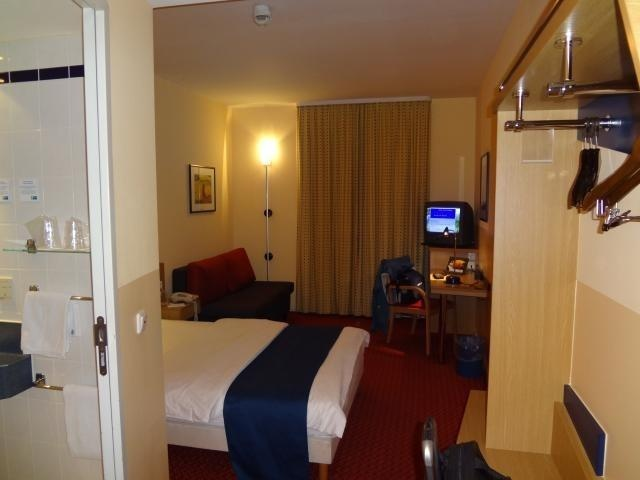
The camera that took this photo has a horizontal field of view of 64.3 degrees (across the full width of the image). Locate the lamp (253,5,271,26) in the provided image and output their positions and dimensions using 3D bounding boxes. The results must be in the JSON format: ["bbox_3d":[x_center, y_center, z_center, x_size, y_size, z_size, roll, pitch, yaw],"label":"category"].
[{"bbox_3d":[-0.413,-1.563,3.585,0.089,0.111,0.117,-5,41,-10],"label":"lamp"}]

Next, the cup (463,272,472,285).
[{"bbox_3d":[1.394,0.372,4.873,0.088,0.106,0.090,1,4,0],"label":"cup"}]

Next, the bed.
[{"bbox_3d":[-0.503,1.140,4.031,1.612,0.642,1.603,4,12,12],"label":"bed"}]

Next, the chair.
[{"bbox_3d":[1.149,0.765,5.799,0.774,1.337,0.742,-2,-2,32],"label":"chair"}]

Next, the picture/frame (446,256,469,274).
[{"bbox_3d":[1.461,0.267,5.386,0.213,0.146,0.294,4,12,15],"label":"picture/frame"}]

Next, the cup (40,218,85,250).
[{"bbox_3d":[-1.265,-0.023,2.485,0.124,0.120,0.049,3,6,20],"label":"cup"}]

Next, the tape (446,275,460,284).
[{"bbox_3d":[1.286,0.390,4.902,0.138,0.068,0.139,5,12,16],"label":"tape"}]

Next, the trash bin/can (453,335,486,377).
[{"bbox_3d":[1.462,1.100,4.949,0.301,0.335,0.293,-4,5,-31],"label":"trash bin/can"}]

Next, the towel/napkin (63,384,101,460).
[{"bbox_3d":[-1.178,0.883,2.603,0.249,0.341,0.087,-4,1,18],"label":"towel/napkin"}]

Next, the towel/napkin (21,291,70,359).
[{"bbox_3d":[-1.360,0.415,2.523,0.253,0.356,0.067,6,10,12],"label":"towel/napkin"}]
